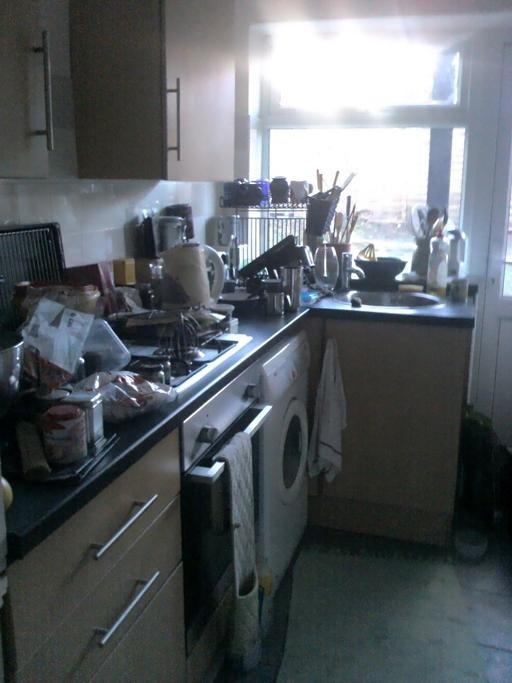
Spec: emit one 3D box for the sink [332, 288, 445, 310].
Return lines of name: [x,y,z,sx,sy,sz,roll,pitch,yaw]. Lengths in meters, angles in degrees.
sink: [0.610,-0.233,2.544,0.453,0.116,0.364,5,13,17]

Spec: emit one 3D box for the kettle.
kettle: [-0.167,-0.192,1.716,0.144,0.199,0.214,9,14,37]

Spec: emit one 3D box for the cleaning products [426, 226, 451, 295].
cleaning products: [0.803,-0.345,2.521,0.085,0.242,0.234,4,12,18]

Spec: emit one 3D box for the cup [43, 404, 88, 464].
cup: [-0.278,0.132,0.872,0.054,0.084,0.071,13,22,36]

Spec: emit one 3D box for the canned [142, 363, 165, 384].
canned: [-0.219,0.064,1.215,0.035,0.044,0.040,0,7,0]

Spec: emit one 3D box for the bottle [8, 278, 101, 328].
bottle: [-0.415,-0.091,1.181,0.151,0.103,0.120,6,19,2]

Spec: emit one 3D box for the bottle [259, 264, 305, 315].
bottle: [0.105,-0.178,2.077,0.130,0.196,0.182,-6,12,-32]

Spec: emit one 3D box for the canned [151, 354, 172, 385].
canned: [-0.193,0.065,1.231,0.039,0.085,0.043,-2,3,-32]
